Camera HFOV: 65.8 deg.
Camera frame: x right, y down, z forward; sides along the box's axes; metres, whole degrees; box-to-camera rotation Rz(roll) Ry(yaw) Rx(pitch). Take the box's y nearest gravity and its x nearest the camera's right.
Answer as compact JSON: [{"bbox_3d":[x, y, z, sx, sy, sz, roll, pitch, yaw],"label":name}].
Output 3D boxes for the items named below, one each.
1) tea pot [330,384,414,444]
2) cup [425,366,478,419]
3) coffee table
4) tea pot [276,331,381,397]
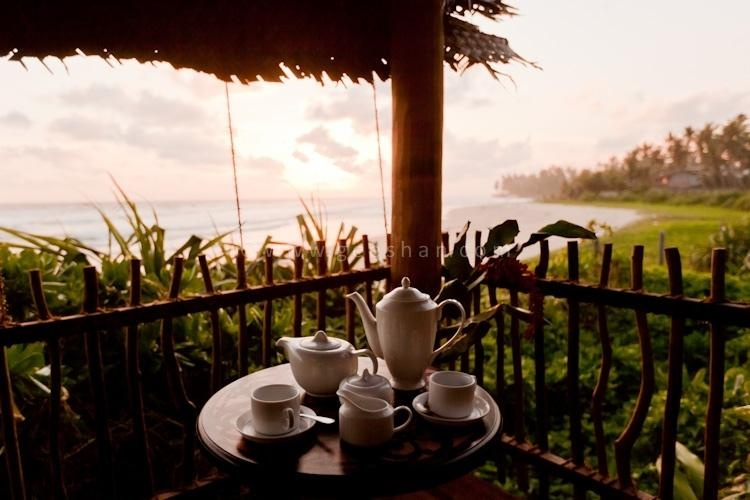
[{"bbox_3d":[-0.035,0.848,2.980,0.335,0.225,0.250,2,-4,-12],"label":"tea pot"},{"bbox_3d":[0.397,0.747,3.012,0.192,0.176,0.258,-2,-4,34],"label":"cup"},{"bbox_3d":[-0.137,0.957,3.039,1.543,0.477,0.673,-3,5,15],"label":"coffee table"},{"bbox_3d":[-0.246,0.579,3.140,0.469,0.318,0.326,3,-2,15],"label":"tea pot"}]
